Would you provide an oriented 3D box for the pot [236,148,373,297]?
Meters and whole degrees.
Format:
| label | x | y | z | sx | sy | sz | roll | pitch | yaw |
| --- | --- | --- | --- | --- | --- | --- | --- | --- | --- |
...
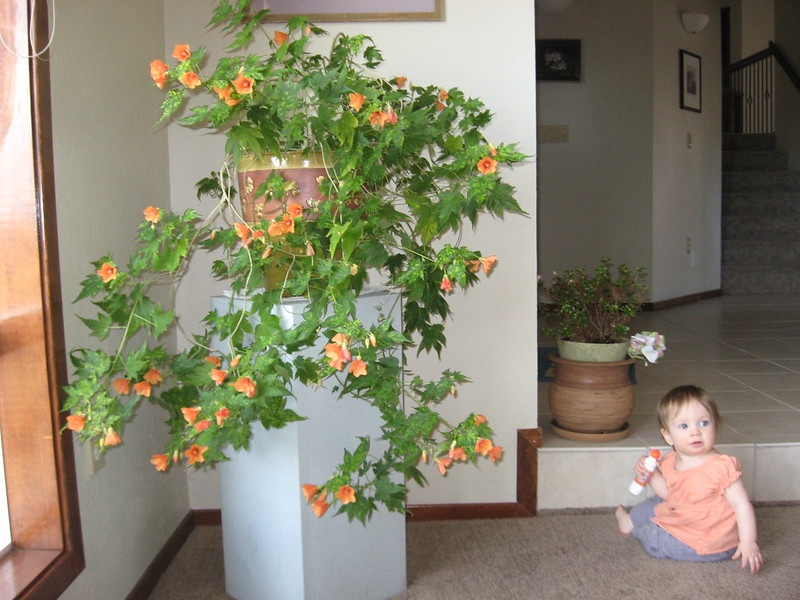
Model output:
| label | x | y | z | sx | sy | sz | roll | pitch | yaw |
| --- | --- | --- | --- | --- | --- | --- | --- | --- | --- |
| pot | -0.255 | -0.213 | 1.660 | 0.308 | 0.355 | 0.316 | -1 | 4 | 0 |

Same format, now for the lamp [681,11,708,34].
| label | x | y | z | sx | sy | sz | roll | pitch | yaw |
| --- | --- | --- | --- | --- | --- | --- | --- | --- | --- |
| lamp | 2.667 | -2.501 | 5.600 | 0.166 | 0.171 | 0.382 | 7 | 13 | 42 |

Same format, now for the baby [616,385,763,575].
| label | x | y | z | sx | sy | sz | roll | pitch | yaw |
| --- | --- | --- | --- | --- | --- | --- | --- | --- | --- |
| baby | 0.958 | 0.545 | 2.087 | 0.401 | 0.557 | 0.430 | 10 | 11 | -2 |

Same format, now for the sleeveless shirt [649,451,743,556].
| label | x | y | z | sx | sy | sz | roll | pitch | yaw |
| --- | --- | --- | --- | --- | --- | --- | --- | --- | --- |
| sleeveless shirt | 0.961 | 0.669 | 2.014 | 0.192 | 0.318 | 0.327 | 3 | -3 | -26 |

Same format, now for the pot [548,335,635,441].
| label | x | y | z | sx | sy | sz | roll | pitch | yaw |
| --- | --- | --- | --- | --- | --- | --- | --- | --- | --- |
| pot | 0.725 | 0.347 | 2.514 | 0.257 | 0.353 | 0.395 | 3 | 11 | -6 |
